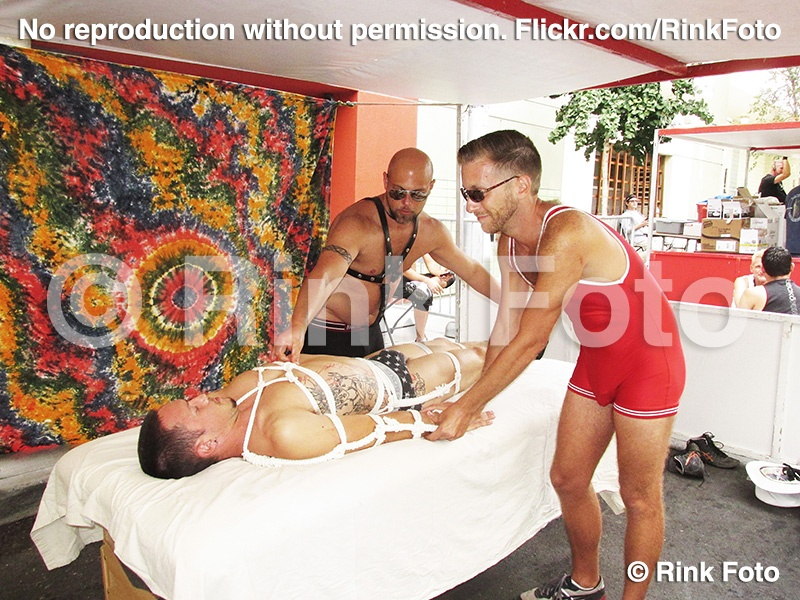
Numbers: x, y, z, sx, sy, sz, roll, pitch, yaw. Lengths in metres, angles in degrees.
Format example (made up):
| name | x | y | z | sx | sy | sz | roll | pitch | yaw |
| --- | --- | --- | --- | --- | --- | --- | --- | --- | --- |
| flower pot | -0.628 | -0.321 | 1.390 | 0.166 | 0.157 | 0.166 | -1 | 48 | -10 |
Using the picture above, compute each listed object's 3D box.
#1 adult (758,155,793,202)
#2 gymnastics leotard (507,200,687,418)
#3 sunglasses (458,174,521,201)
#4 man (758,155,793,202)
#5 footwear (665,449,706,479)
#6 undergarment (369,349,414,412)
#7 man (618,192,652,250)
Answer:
| name | x | y | z | sx | sy | sz | roll | pitch | yaw |
| --- | --- | --- | --- | --- | --- | --- | --- | --- | --- |
| adult | 5.063 | -1.619 | 7.197 | 0.319 | 0.597 | 0.915 | 9 | 17 | 33 |
| gymnastics leotard | 0.940 | 0.077 | 2.200 | 0.481 | 0.795 | 0.302 | 2 | 14 | 11 |
| sunglasses | 0.363 | -0.463 | 2.223 | 0.140 | 0.042 | 0.136 | -24 | 14 | -11 |
| man | 5.057 | -1.617 | 7.188 | 0.319 | 0.597 | 0.938 | 9 | 17 | 33 |
| footwear | 1.931 | 1.115 | 3.608 | 0.148 | 0.094 | 0.203 | -4 | 1 | -13 |
| undergarment | -0.054 | 0.401 | 2.673 | 0.172 | 0.307 | 0.110 | -2 | -28 | -33 |
| man | 3.648 | -1.071 | 8.194 | 0.504 | 1.044 | 0.473 | 8 | 23 | 34 |
